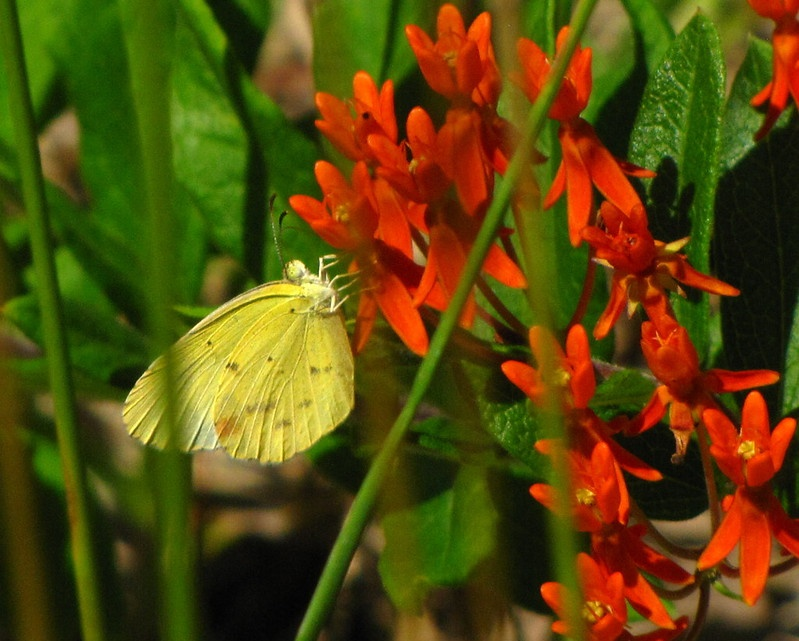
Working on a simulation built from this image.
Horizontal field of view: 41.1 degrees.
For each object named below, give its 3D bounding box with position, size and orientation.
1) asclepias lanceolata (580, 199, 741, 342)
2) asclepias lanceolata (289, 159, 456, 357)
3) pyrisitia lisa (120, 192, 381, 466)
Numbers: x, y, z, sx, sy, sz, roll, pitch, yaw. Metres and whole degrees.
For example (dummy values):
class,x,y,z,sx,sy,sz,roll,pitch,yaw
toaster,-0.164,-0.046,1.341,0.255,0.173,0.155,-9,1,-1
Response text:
class,x,y,z,sx,sy,sz,roll,pitch,yaw
asclepias lanceolata,0.243,-0.047,1.008,0.116,0.139,0.079,13,-16,40
asclepias lanceolata,-0.013,-0.086,1.066,0.155,0.095,0.161,29,-33,-21
pyrisitia lisa,-0.147,0.048,1.229,0.183,0.328,0.277,16,-12,-37
